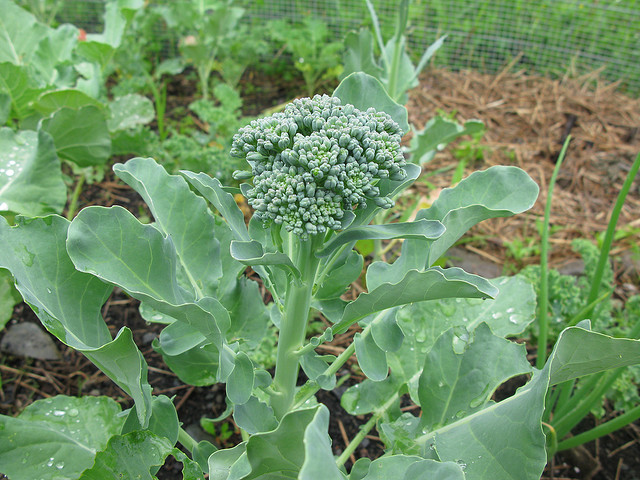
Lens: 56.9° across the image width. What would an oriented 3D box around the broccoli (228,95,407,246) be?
[{"bbox_3d":[0.036,-0.249,2.272,0.506,0.484,0.595,25,67,19],"label":"broccoli"}]
